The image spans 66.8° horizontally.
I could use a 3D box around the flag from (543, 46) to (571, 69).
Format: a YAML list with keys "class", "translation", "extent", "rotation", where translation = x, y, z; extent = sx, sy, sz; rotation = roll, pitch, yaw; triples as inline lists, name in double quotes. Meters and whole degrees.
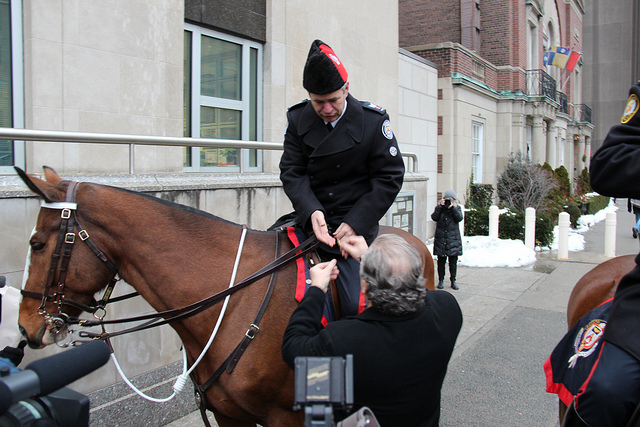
- class: "flag"
  translation: [10.776, -7.249, 22.302]
  extent: [0.835, 1.024, 2.104]
  rotation: [5, 11, 12]

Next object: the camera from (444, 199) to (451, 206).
- class: "camera"
  translation: [2.663, -0.237, 10.143]
  extent: [0.053, 0.137, 0.156]
  rotation: [-4, 13, -33]

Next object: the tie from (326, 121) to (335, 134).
- class: "tie"
  translation: [0.085, -0.724, 4.025]
  extent: [0.078, 0.109, 0.024]
  rotation: [0, 0, 21]

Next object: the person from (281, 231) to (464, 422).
- class: "person"
  translation: [0.385, 0.802, 3.345]
  extent: [1.145, 1.267, 0.591]
  rotation: [5, 10, 10]

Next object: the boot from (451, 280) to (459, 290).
- class: "boot"
  translation: [2.723, 1.456, 9.891]
  extent: [0.077, 0.153, 0.209]
  rotation: [-12, 12, -8]
